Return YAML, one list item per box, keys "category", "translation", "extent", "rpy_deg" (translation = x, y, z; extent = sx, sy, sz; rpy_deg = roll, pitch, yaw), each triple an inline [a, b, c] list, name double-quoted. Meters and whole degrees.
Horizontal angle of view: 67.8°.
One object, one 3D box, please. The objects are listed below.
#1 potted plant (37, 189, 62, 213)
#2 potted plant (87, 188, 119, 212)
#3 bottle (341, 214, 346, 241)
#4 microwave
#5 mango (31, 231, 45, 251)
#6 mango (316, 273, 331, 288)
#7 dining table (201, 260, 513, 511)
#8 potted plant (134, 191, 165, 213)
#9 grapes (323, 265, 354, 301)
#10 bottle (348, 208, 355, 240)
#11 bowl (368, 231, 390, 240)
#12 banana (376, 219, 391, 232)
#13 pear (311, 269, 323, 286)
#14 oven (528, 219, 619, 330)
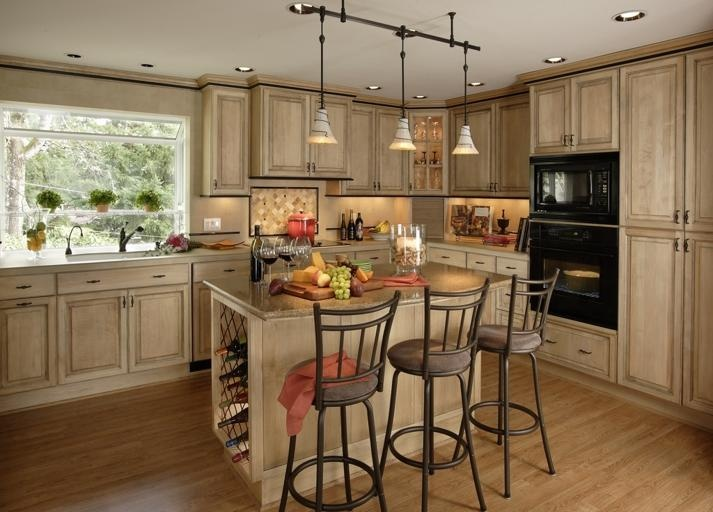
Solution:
- category: "potted plant"
  translation: [-3.037, -0.550, 5.270]
  extent: [0.212, 0.227, 0.218]
  rpy_deg: [2, 8, -4]
- category: "potted plant"
  translation: [-2.638, -0.581, 5.514]
  extent: [0.231, 0.228, 0.236]
  rpy_deg: [0, 2, -14]
- category: "bottle"
  translation: [-0.162, -0.385, 6.719]
  extent: [0.082, 0.321, 0.098]
  rpy_deg: [-1, 8, -1]
- category: "microwave"
  translation: [2.072, -0.632, 5.127]
  extent: [0.588, 0.834, 0.949]
  rpy_deg: [0, 2, -37]
- category: "mango"
  translation: [-3.004, -0.139, 5.025]
  extent: [0.100, 0.180, 0.067]
  rpy_deg: [-12, -17, 35]
- category: "mango"
  translation: [-0.228, 0.166, 3.736]
  extent: [0.102, 0.080, 0.076]
  rpy_deg: [-20, 13, -9]
- category: "dining table"
  translation: [-0.109, 0.257, 4.191]
  extent: [2.650, 1.869, 1.439]
  rpy_deg: [-2, 3, -33]
- category: "potted plant"
  translation: [-2.209, -0.580, 5.701]
  extent: [0.220, 0.207, 0.225]
  rpy_deg: [-3, 5, -41]
- category: "grapes"
  translation: [-0.114, 0.177, 3.632]
  extent: [0.129, 0.095, 0.229]
  rpy_deg: [3, 43, -1]
- category: "bottle"
  translation: [-0.070, -0.410, 6.758]
  extent: [0.094, 0.364, 0.158]
  rpy_deg: [-1, 8, -1]
- category: "bowl"
  translation: [0.303, -0.248, 6.560]
  extent: [0.286, 0.102, 0.152]
  rpy_deg: [3, 9, 28]
- category: "banana"
  translation: [0.342, -0.374, 6.711]
  extent: [0.170, 0.122, 0.416]
  rpy_deg: [-1, 8, 2]
- category: "pear"
  translation: [-0.273, 0.151, 3.719]
  extent: [0.070, 0.098, 0.055]
  rpy_deg: [16, -12, -13]
- category: "oven"
  translation: [2.233, 0.092, 5.328]
  extent: [0.859, 1.021, 0.660]
  rpy_deg: [5, 15, 36]
